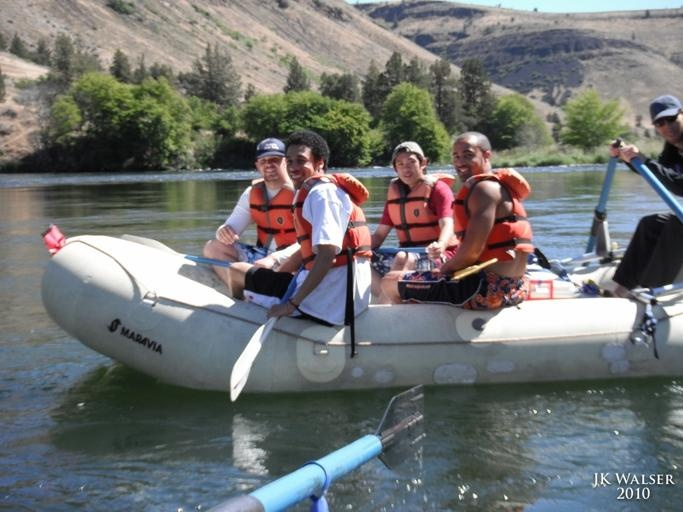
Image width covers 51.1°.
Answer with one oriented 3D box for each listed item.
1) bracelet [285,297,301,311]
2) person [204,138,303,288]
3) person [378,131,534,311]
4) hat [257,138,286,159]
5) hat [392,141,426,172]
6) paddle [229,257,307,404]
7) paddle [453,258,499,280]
[{"bbox_3d":[-0.345,0.357,5.223,0.034,0.106,0.075,-50,27,-15],"label":"bracelet"},{"bbox_3d":[-0.717,-0.353,6.420,1.016,1.372,0.935,6,15,19],"label":"person"},{"bbox_3d":[0.859,-0.316,5.793,1.287,1.289,0.957,1,7,6],"label":"person"},{"bbox_3d":[-0.627,-0.983,6.313,0.194,0.137,0.247,-3,-11,1],"label":"hat"},{"bbox_3d":[0.638,-0.980,6.719,0.411,0.252,0.507,-2,6,5],"label":"hat"},{"bbox_3d":[-0.495,0.428,5.481,0.073,0.240,1.626,-43,13,49],"label":"paddle"},{"bbox_3d":[1.015,0.083,5.412,0.289,0.075,0.062,-16,44,-25],"label":"paddle"}]
